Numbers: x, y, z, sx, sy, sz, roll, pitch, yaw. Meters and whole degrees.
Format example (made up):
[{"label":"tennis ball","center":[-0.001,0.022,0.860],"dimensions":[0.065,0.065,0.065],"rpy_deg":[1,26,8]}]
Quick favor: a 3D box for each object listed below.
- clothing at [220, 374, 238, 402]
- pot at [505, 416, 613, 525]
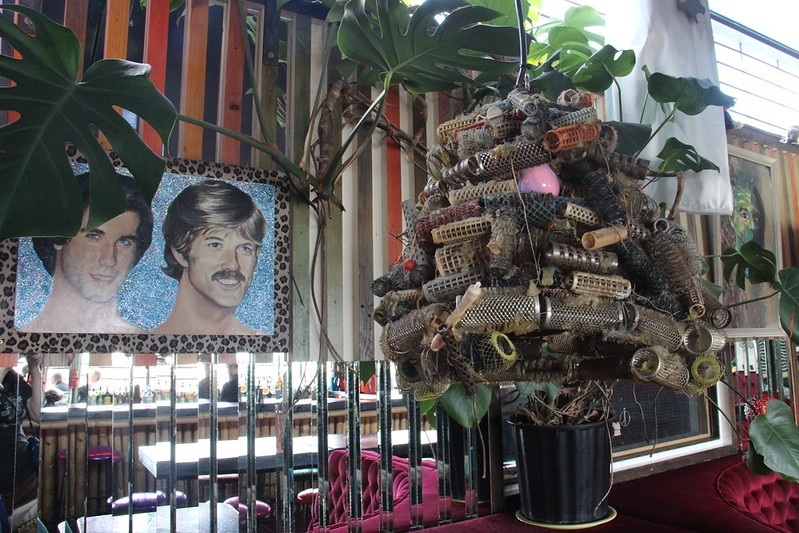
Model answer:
[{"label":"clothing","center":[-0.596,0.424,2.815],"dimensions":[0.094,0.089,0.034],"rpy_deg":[0,-2,-21]},{"label":"pot","center":[0.532,0.687,2.714],"dimensions":[0.307,0.259,0.329],"rpy_deg":[-1,-18,0]}]
